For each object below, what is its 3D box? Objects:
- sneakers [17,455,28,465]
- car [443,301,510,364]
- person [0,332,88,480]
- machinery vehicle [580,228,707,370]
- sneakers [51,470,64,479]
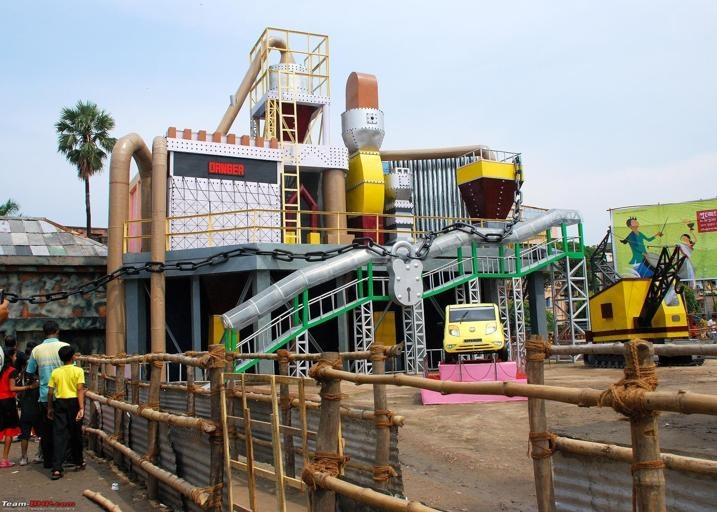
[{"bbox_3d":[-6.863,4.194,12.704,0.136,0.179,0.397,2,-13,-19],"label":"sneakers"},{"bbox_3d":[3.940,2.875,21.104,1.951,2.069,3.897,-4,-16,10],"label":"car"},{"bbox_3d":[-5.804,2.751,12.073,0.835,2.840,1.567,0,-3,-33],"label":"person"},{"bbox_3d":[12.294,2.437,27.347,3.482,4.056,5.060,-4,-9,-3],"label":"machinery vehicle"},{"bbox_3d":[-5.488,3.995,11.313,0.100,0.098,0.309,0,-9,-11],"label":"sneakers"}]
